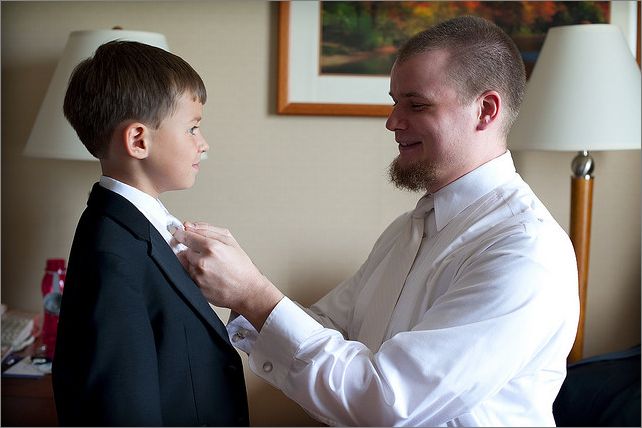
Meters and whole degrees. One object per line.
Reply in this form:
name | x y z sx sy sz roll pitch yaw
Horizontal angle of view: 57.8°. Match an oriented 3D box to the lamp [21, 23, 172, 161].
lamp | -0.880 -0.482 2.430 0.579 0.432 0.541 6 8 16
